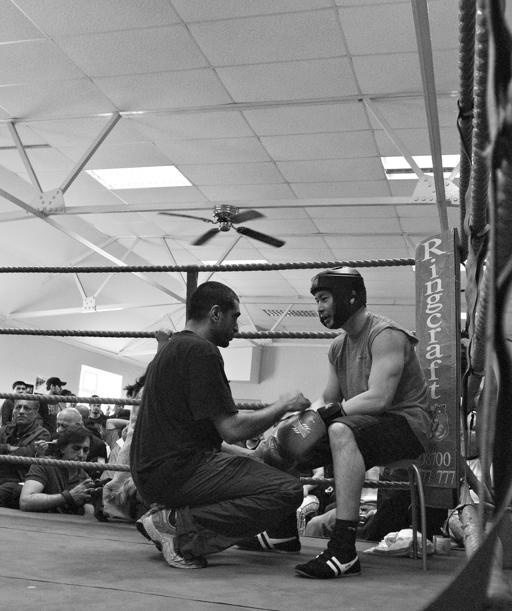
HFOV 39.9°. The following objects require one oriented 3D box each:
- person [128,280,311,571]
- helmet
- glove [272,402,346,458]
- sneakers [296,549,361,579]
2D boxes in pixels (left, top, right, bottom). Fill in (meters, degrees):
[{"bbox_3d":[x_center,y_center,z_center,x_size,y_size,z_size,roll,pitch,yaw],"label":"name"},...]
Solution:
[{"bbox_3d":[-0.094,0.304,1.919,0.478,0.778,0.343,5,-10,-5],"label":"person"},{"bbox_3d":[0.271,-0.023,2.147,0.187,0.167,0.169,1,-8,32],"label":"helmet"},{"bbox_3d":[0.137,0.334,1.932,0.200,0.120,0.077,-25,16,-2],"label":"glove"},{"bbox_3d":[0.162,0.590,1.601,0.162,0.049,0.053,7,-19,-23],"label":"sneakers"}]
